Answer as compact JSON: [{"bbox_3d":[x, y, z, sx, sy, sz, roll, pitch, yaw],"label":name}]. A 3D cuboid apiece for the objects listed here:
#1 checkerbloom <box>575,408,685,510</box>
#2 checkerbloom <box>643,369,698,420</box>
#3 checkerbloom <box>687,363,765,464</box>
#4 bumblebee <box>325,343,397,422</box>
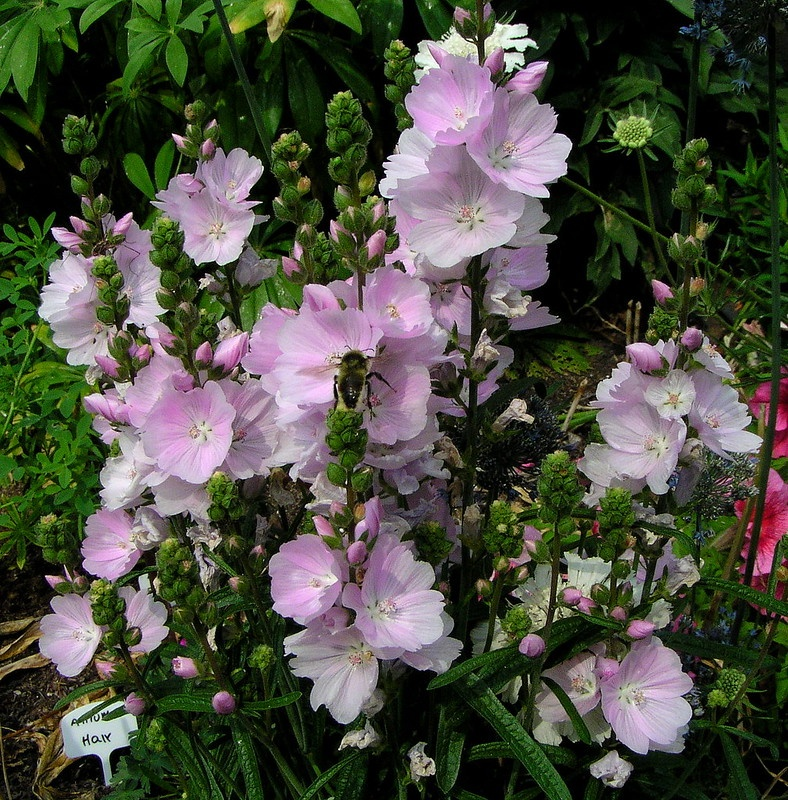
[{"bbox_3d":[0.491,0.112,1.678,0.177,0.318,0.183,-1,77,1],"label":"checkerbloom"},{"bbox_3d":[0.551,-0.001,1.595,0.094,0.059,0.096,-29,63,22],"label":"checkerbloom"},{"bbox_3d":[0.659,0.038,1.624,0.171,0.077,0.172,16,56,-18],"label":"checkerbloom"},{"bbox_3d":[-0.070,-0.043,1.444,0.130,0.057,0.187,5,45,0],"label":"bumblebee"}]
